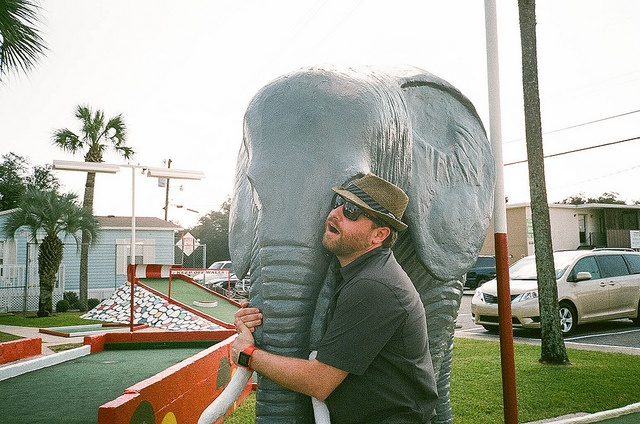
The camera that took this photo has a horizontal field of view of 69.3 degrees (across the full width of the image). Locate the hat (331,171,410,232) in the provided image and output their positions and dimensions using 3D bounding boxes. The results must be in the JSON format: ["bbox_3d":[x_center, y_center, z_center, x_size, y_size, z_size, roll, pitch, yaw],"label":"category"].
[{"bbox_3d":[0.367,-0.087,3.315,0.659,0.262,0.568,16,-10,14],"label":"hat"}]

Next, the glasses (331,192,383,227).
[{"bbox_3d":[0.217,-0.013,3.177,0.225,0.070,0.168,27,-2,-24],"label":"glasses"}]
